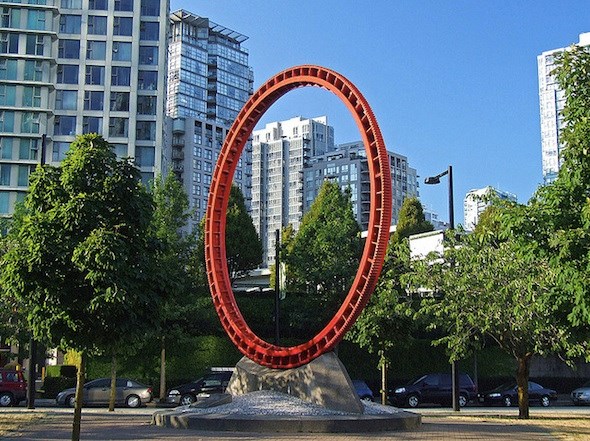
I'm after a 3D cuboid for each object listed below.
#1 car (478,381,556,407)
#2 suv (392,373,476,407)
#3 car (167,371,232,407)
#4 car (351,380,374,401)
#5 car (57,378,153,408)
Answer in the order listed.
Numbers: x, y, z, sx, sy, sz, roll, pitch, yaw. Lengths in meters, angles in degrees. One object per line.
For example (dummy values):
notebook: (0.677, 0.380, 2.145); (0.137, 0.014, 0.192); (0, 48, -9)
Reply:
car: (13.700, 10.812, 56.945); (4.211, 1.561, 1.875); (6, -13, -15)
suv: (8.223, 10.390, 56.180); (4.630, 2.248, 2.686); (3, -14, -7)
car: (-5.555, 9.906, 53.716); (3.151, 1.954, 3.936); (3, -9, -36)
car: (3.910, 9.822, 53.545); (1.046, 1.113, 2.937); (-1, -9, 2)
car: (-11.071, 10.051, 53.972); (5.004, 1.779, 2.365); (4, -14, -6)
